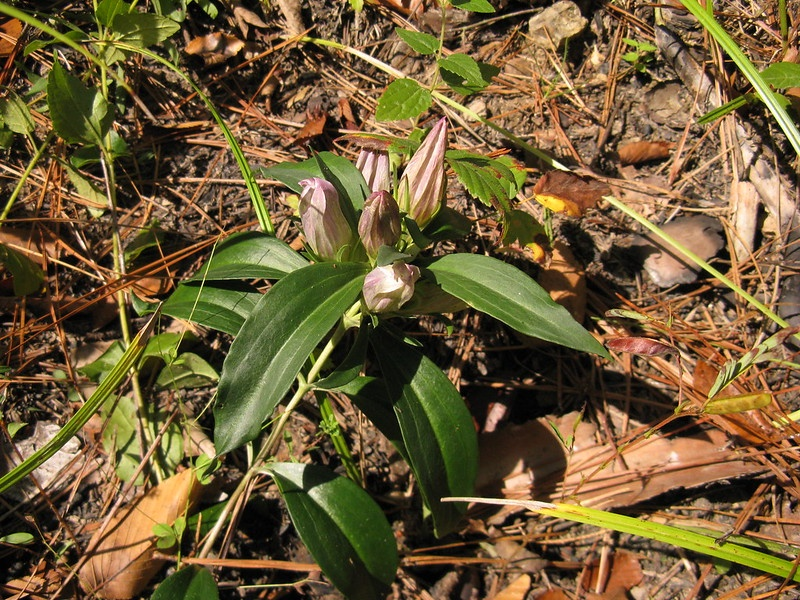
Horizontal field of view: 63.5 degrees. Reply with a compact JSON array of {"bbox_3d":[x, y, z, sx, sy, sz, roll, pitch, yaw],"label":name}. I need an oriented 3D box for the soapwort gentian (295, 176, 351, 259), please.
[{"bbox_3d":[-0.305,-0.311,2.617,0.243,0.328,0.164,12,51,0],"label":"soapwort gentian"}]

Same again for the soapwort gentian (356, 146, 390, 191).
[{"bbox_3d":[-0.117,-0.551,2.793,0.153,0.149,0.163,10,50,-1],"label":"soapwort gentian"}]

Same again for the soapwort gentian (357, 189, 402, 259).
[{"bbox_3d":[-0.095,-0.274,2.631,0.194,0.359,0.171,11,50,4],"label":"soapwort gentian"}]
